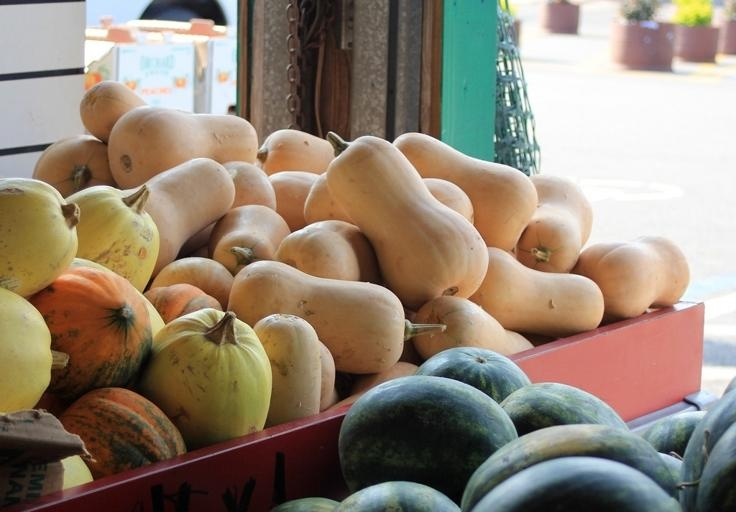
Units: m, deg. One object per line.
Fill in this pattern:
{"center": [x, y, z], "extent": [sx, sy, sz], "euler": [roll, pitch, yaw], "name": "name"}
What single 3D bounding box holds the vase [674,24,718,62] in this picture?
{"center": [1.678, -1.112, 3.672], "extent": [0.179, 0.207, 0.192], "euler": [1, 20, -1], "name": "vase"}
